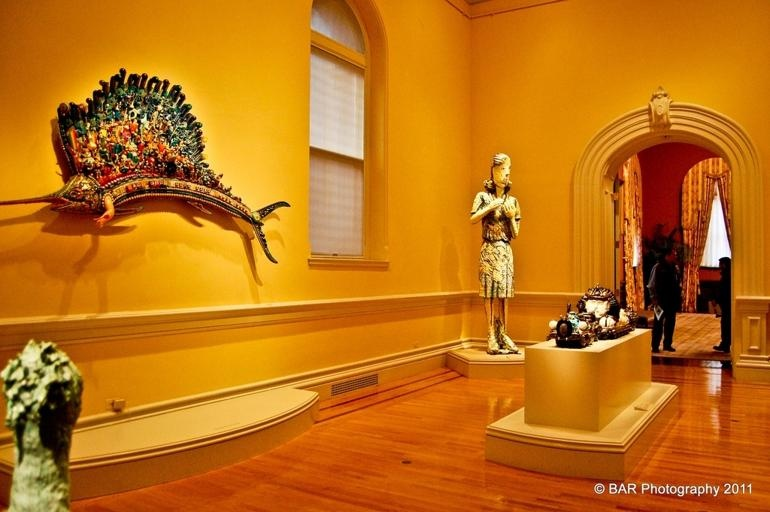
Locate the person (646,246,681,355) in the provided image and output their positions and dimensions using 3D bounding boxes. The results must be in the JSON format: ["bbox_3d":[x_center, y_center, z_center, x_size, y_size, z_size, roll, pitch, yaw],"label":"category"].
[{"bbox_3d":[5.042,0.805,9.520,0.484,1.871,1.399,1,2,28],"label":"person"}]

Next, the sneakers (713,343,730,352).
[{"bbox_3d":[5.934,1.626,9.231,0.108,0.207,0.275,1,2,-28],"label":"sneakers"}]

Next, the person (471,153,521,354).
[{"bbox_3d":[1.589,-0.008,7.568,0.746,2.902,0.439,-1,2,-9],"label":"person"}]

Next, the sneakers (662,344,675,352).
[{"bbox_3d":[5.118,1.651,9.445,0.263,0.194,0.110,-2,1,-29],"label":"sneakers"}]
